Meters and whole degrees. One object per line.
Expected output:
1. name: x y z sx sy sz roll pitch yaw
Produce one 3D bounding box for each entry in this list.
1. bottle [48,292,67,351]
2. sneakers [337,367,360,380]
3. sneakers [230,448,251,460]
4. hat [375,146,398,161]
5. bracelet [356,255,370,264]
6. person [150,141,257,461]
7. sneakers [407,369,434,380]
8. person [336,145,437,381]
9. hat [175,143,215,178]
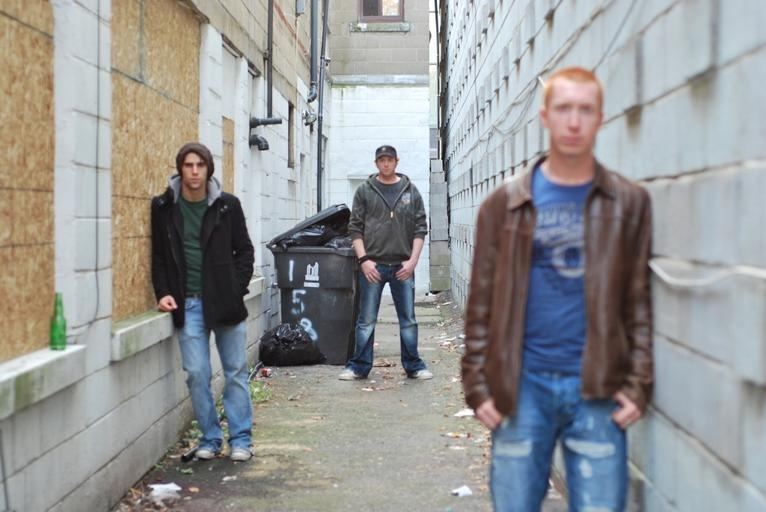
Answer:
1. bottle: -2.019 0.401 4.058 0.098 0.342 0.107 0 3 0
2. sneakers: -0.421 1.438 7.990 0.117 0.123 0.277 -3 -7 38
3. sneakers: -1.155 1.595 5.305 0.160 0.078 0.076 3 3 0
4. hat: 0.033 -1.252 7.917 0.250 0.231 0.592 0 3 0
5. bracelet: -0.240 0.045 7.704 0.092 0.037 0.092 -29 -5 39
6. person: -1.474 0.380 5.321 0.804 2.539 0.378 0 3 -12
7. sneakers: 0.467 1.441 8.024 0.267 0.120 0.132 -4 -5 23
8. person: 0.046 0.104 7.821 1.005 2.807 0.452 0 3 -2
9. hat: -1.501 -0.759 5.206 0.275 0.295 0.210 -1 3 -18
